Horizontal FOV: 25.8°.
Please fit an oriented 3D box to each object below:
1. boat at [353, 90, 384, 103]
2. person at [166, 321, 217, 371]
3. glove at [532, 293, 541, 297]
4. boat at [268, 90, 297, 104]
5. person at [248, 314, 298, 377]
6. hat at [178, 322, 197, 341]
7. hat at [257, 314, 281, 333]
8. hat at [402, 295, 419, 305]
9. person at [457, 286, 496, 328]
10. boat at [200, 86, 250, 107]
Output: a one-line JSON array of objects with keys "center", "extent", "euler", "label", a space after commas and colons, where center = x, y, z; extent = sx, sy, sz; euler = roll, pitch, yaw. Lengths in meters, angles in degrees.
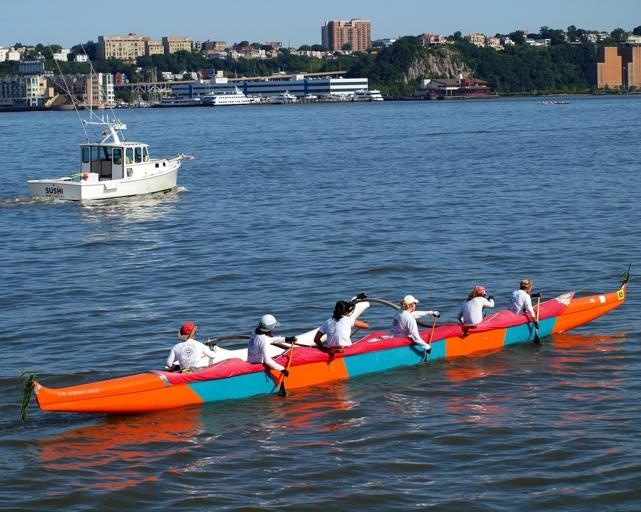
[{"center": [8.396, -26.953, 237.359], "extent": [3.218, 2.077, 6.698], "euler": [4, 14, 27], "label": "boat"}, {"center": [-3.104, 2.016, 32.624], "extent": [0.934, 1.149, 1.285], "euler": [4, 23, 6], "label": "person"}, {"center": [5.536, 0.972, 35.429], "extent": [0.125, 0.040, 0.128], "euler": [-8, -12, 33], "label": "glove"}, {"center": [-6.448, -27.020, 238.281], "extent": [2.650, 1.791, 4.563], "euler": [-4, 5, -43], "label": "boat"}, {"center": [-1.196, 2.031, 32.690], "extent": [1.079, 1.464, 0.547], "euler": [-3, 15, -2], "label": "person"}, {"center": [-3.078, 1.730, 32.261], "extent": [0.366, 0.408, 0.283], "euler": [-5, 15, -9], "label": "hat"}, {"center": [-1.225, 1.554, 32.432], "extent": [0.434, 0.419, 0.307], "euler": [-3, 14, -1], "label": "hat"}, {"center": [2.251, 1.065, 33.902], "extent": [0.337, 0.154, 0.247], "euler": [-16, 19, -33], "label": "hat"}, {"center": [3.948, 1.365, 35.168], "extent": [0.780, 1.187, 0.669], "euler": [-10, 27, -37], "label": "person"}, {"center": [-14.989, -25.399, 227.892], "extent": [6.841, 2.294, 3.810], "euler": [-4, 9, -17], "label": "boat"}]
